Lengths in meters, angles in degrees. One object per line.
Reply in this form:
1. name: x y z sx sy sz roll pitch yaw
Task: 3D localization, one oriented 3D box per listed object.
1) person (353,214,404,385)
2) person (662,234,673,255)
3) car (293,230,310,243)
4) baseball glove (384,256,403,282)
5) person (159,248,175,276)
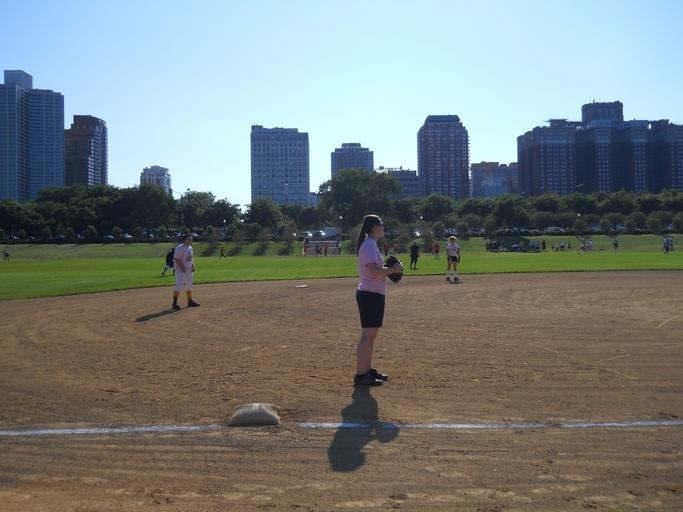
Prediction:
1. person: 0.659 0.841 17.777 0.853 3.218 0.762 0 1 -4
2. person: 24.554 -0.787 69.414 0.679 1.651 0.571 5 -10 7
3. car: -5.531 -2.489 131.879 2.174 1.274 2.856 1 3 -5
4. baseball glove: 1.100 0.283 17.953 0.397 0.408 0.473 6 -19 -8
5. person: -8.660 0.335 45.699 0.877 1.341 0.596 -10 27 -26
